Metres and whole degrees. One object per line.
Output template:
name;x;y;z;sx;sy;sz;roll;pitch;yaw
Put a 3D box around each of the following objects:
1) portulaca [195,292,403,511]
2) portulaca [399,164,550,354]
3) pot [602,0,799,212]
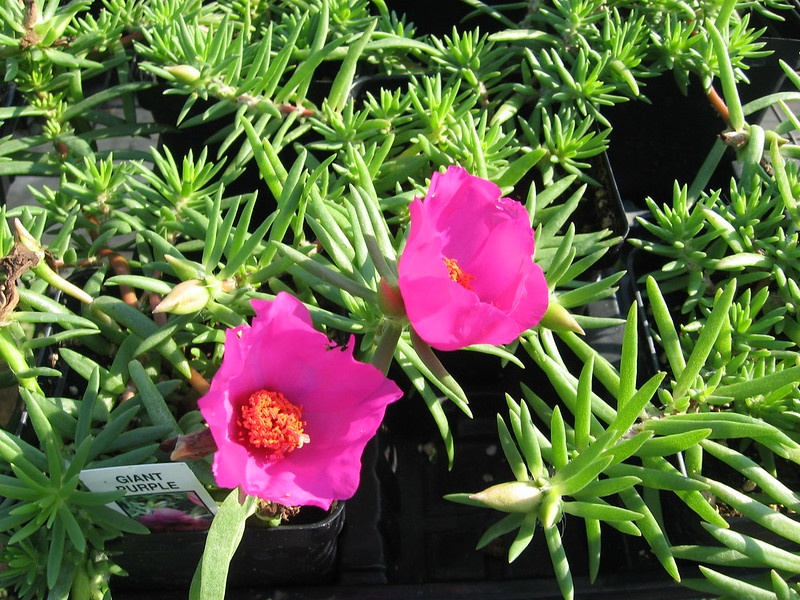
portulaca;-0.097;0.106;0.884;0.093;0.212;0.208;27;31;23
portulaca;0.097;-0.052;0.898;0.178;0.171;0.181;9;33;13
pot;0.673;-0.416;1.589;0.503;0.335;0.256;-28;42;-37
